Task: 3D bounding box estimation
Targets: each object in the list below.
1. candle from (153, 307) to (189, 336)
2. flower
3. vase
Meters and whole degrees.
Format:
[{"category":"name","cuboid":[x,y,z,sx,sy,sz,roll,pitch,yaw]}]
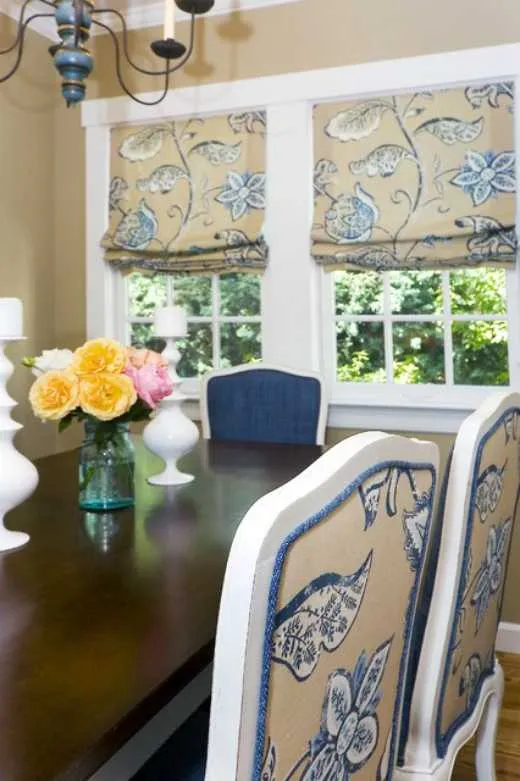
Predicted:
[{"category":"candle","cuboid":[-0.220,-0.172,1.612,0.071,0.051,0.069,-3,10,-17]},{"category":"flower","cuboid":[-0.281,0.050,1.286,0.248,0.250,0.220,-28,20,-37]},{"category":"vase","cuboid":[-0.308,0.152,1.345,0.109,0.176,0.106,-1,1,-14]}]
